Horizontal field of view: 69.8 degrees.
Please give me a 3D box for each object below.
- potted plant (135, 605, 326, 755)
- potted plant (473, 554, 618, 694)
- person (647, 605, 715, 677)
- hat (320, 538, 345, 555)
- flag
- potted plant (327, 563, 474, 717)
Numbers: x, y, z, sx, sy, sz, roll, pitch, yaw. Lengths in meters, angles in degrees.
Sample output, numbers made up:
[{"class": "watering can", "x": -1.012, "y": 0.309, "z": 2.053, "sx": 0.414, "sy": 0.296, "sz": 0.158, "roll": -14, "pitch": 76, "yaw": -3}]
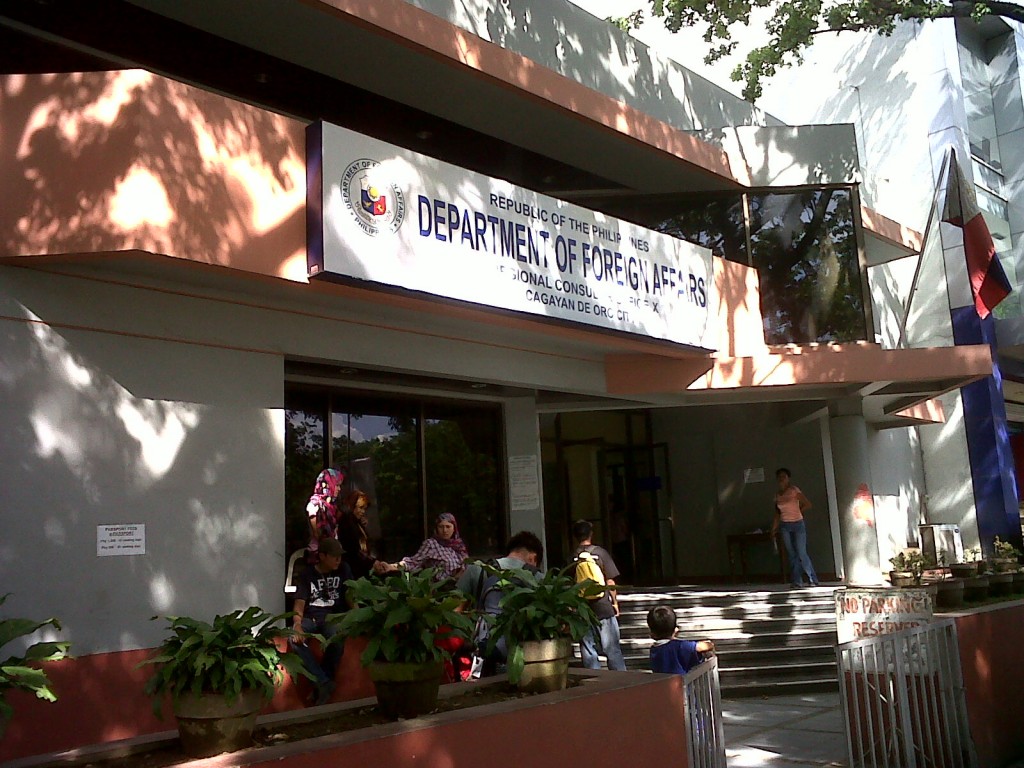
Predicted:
[{"class": "potted plant", "x": -1.426, "y": 1.418, "z": 3.812, "sx": 0.651, "sy": 0.623, "sz": 0.730, "roll": 0, "pitch": -10, "yaw": 11}, {"class": "potted plant", "x": 0.157, "y": 1.497, "z": 5.161, "sx": 0.996, "sy": 0.823, "sz": 1.139, "roll": 1, "pitch": -23, "yaw": -1}, {"class": "person", "x": 1.421, "y": 2.180, "z": 6.226, "sx": 0.497, "sy": 0.496, "sz": 1.209, "roll": -5, "pitch": -11, "yaw": 9}, {"class": "hat", "x": -1.901, "y": 1.694, "z": 7.616, "sx": 0.236, "sy": 0.181, "sz": 0.189, "roll": 0, "pitch": -11, "yaw": -18}, {"class": "flag", "x": 9.424, "y": -2.992, "z": 14.913, "sx": 0.899, "sy": 3.739, "sz": 2.519, "roll": -9, "pitch": -11, "yaw": 34}, {"class": "potted plant", "x": -0.601, "y": 1.441, "z": 4.361, "sx": 0.683, "sy": 0.766, "sz": 0.765, "roll": 0, "pitch": -11, "yaw": -6}]
